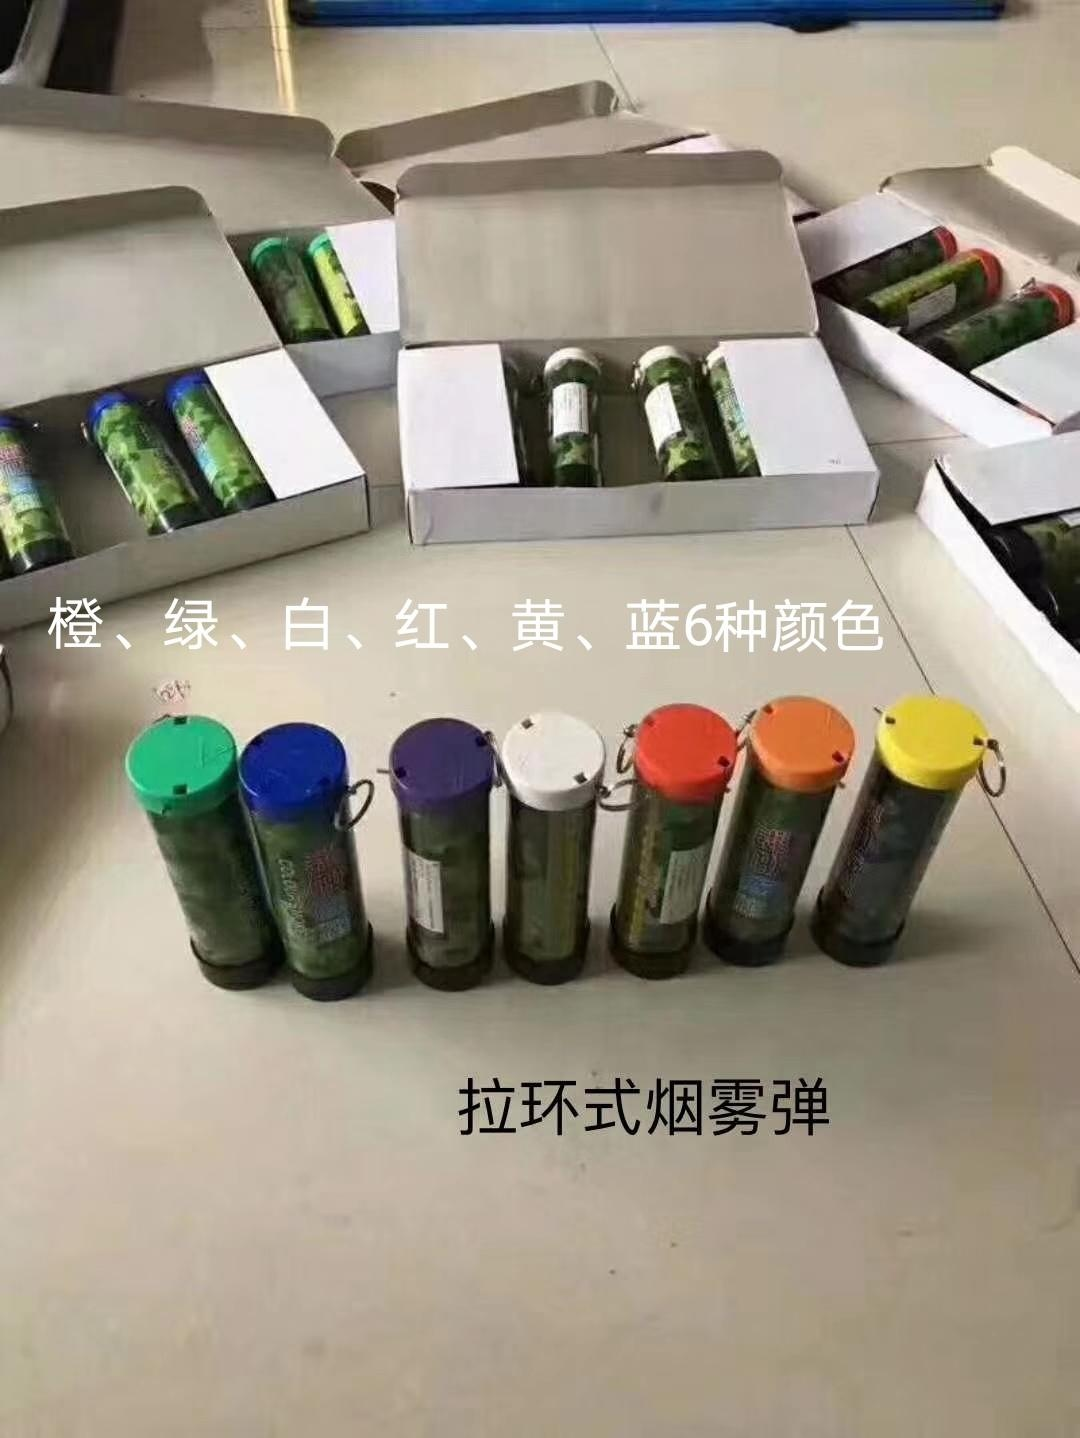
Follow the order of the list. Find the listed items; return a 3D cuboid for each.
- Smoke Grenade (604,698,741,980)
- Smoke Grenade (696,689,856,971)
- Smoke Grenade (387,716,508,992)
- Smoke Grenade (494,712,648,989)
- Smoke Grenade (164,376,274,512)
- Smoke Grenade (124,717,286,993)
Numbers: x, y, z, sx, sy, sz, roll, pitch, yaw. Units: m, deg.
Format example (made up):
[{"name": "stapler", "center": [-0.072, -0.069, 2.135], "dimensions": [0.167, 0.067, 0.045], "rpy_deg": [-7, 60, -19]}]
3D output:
[{"name": "Smoke Grenade", "center": [0.074, 0.085, 0.737], "dimensions": [0.084, 0.202, 0.066], "rpy_deg": [-5, 44, -9]}, {"name": "Smoke Grenade", "center": [0.146, 0.079, 0.731], "dimensions": [0.067, 0.198, 0.063], "rpy_deg": [17, 52, 8]}, {"name": "Smoke Grenade", "center": [-0.057, 0.093, 0.716], "dimensions": [0.061, 0.155, 0.056], "rpy_deg": [-14, 32, -21]}, {"name": "Smoke Grenade", "center": [0.012, 0.087, 0.738], "dimensions": [0.061, 0.220, 0.070], "rpy_deg": [33, 55, 27]}, {"name": "Smoke Grenade", "center": [-0.300, -0.260, 1.054], "dimensions": [0.041, 0.135, 0.032], "rpy_deg": [-7, 56, 1]}, {"name": "Smoke Grenade", "center": [-0.194, 0.091, 0.723], "dimensions": [0.059, 0.220, 0.063], "rpy_deg": [15, 49, 13]}]
